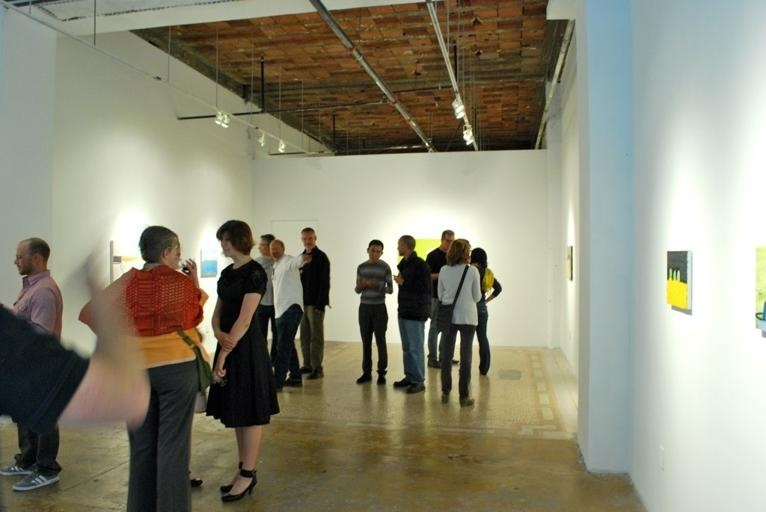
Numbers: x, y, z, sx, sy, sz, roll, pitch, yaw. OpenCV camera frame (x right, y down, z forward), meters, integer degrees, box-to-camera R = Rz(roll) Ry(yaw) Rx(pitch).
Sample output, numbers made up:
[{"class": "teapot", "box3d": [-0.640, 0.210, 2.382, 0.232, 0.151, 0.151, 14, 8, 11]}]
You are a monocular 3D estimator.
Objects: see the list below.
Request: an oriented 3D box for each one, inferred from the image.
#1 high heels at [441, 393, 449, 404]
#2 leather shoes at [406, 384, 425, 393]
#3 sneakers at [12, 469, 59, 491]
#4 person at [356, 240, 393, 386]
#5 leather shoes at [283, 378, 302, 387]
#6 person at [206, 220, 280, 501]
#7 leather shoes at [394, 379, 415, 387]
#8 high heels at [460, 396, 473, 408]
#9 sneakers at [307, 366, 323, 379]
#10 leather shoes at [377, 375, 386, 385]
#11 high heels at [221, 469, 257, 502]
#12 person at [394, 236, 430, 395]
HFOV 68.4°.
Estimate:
[{"class": "high heels", "box3d": [0.797, 1.826, 7.226, 0.101, 0.120, 0.107, -1, 0, 37]}, {"class": "leather shoes", "box3d": [0.440, 1.815, 7.687, 0.094, 0.115, 0.260, -5, -11, 35]}, {"class": "sneakers", "box3d": [-3.065, 1.996, 4.978, 0.343, 0.144, 0.128, 7, 0, -36]}, {"class": "person", "box3d": [-0.127, 0.826, 8.322, 0.544, 2.084, 0.673, 0, 2, -2]}, {"class": "leather shoes", "box3d": [-1.294, 1.821, 8.072, 0.248, 0.117, 0.102, 2, -4, -3]}, {"class": "person", "box3d": [-1.196, 0.890, 4.784, 0.585, 2.342, 0.415, -1, 2, -18]}, {"class": "leather shoes", "box3d": [0.303, 1.816, 7.976, 0.279, 0.127, 0.103, 2, -6, 9]}, {"class": "high heels", "box3d": [1.056, 1.847, 7.082, 0.150, 0.108, 0.080, -6, 4, -23]}, {"class": "sneakers", "box3d": [-1.068, 1.809, 8.598, 0.105, 0.195, 0.270, -7, -13, 34]}, {"class": "leather shoes", "box3d": [-0.020, 1.818, 8.192, 0.077, 0.130, 0.131, 0, -10, 3]}, {"class": "high heels", "box3d": [-1.262, 1.953, 4.784, 0.344, 0.242, 0.150, 10, -9, -34]}, {"class": "person", "box3d": [0.391, 0.800, 7.810, 0.348, 2.119, 0.550, -1, 2, -32]}]
